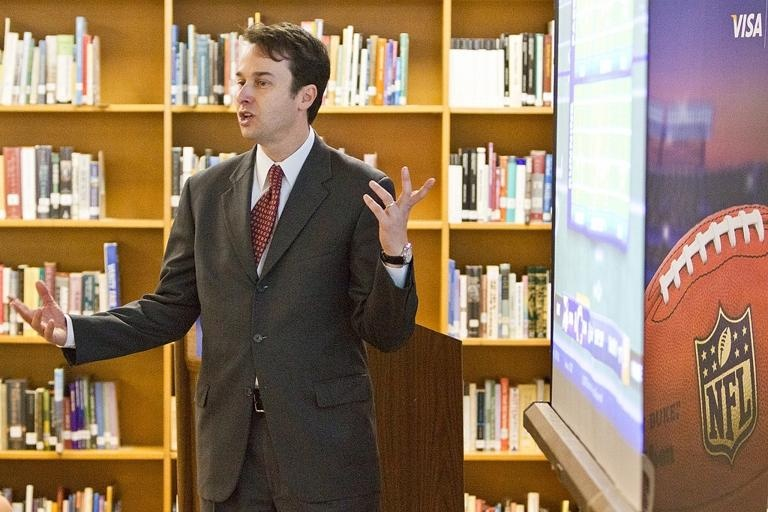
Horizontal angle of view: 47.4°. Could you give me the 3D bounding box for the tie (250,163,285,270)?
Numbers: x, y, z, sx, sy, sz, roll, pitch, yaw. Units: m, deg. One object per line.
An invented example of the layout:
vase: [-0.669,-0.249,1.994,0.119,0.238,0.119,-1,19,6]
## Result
tie: [-0.349,-0.120,2.636,0.066,0.314,0.029,3,-20,15]

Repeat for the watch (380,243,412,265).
watch: [0.030,-0.012,2.442,0.062,0.042,0.067,-3,4,5]
